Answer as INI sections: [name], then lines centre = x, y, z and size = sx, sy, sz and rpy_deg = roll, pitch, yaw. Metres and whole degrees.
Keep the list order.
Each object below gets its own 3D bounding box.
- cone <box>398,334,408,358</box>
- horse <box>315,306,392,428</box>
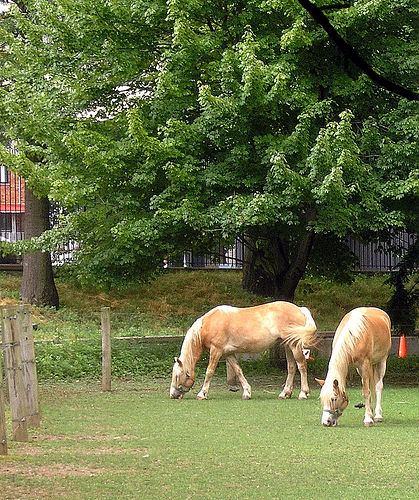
[cone]
centre = 4.186, 2.065, 25.538
size = 0.196, 0.484, 0.723
rpy_deg = 1, 0, 10
[horse]
centre = 2.036, 1.592, 16.225
size = 0.560, 1.565, 1.558
rpy_deg = 1, 0, 30
